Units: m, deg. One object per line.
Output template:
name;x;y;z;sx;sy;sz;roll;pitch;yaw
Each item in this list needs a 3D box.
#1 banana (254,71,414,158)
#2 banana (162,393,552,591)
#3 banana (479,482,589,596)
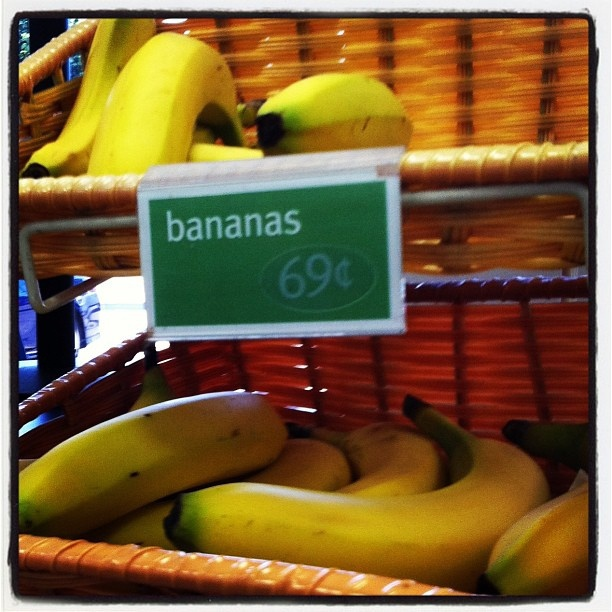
banana;0.008;-0.200;0.754;0.095;0.085;0.164;29;28;17
banana;0.072;0.175;0.634;0.305;0.080;0.191;-18;21;-41
banana;0.182;0.186;0.576;0.089;0.067;0.064;-4;17;5
